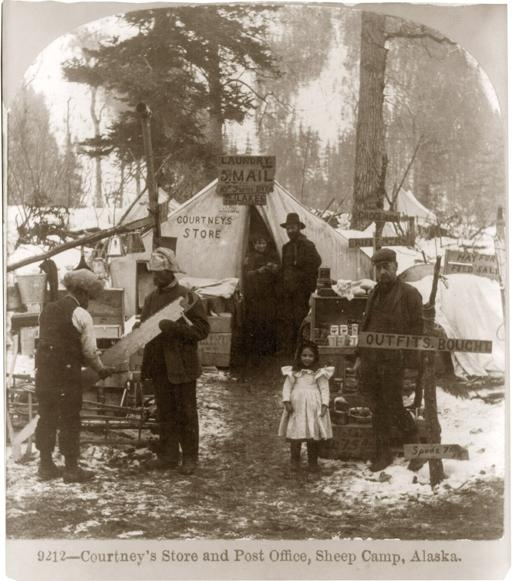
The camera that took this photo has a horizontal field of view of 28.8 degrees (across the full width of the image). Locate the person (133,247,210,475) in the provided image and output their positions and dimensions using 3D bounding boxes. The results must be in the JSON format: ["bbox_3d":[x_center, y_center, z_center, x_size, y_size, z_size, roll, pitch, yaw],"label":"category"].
[{"bbox_3d":[-0.647,0.525,7.655,0.541,1.679,0.191,0,6,-7],"label":"person"}]

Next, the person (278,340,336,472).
[{"bbox_3d":[0.380,0.857,7.724,0.378,0.998,0.365,4,20,13],"label":"person"}]

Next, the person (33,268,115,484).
[{"bbox_3d":[-1.436,0.663,7.717,0.517,1.602,0.254,0,6,-13],"label":"person"}]

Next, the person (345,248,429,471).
[{"bbox_3d":[1.056,0.530,7.799,0.522,1.688,0.309,1,6,1],"label":"person"}]

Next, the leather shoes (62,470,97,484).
[{"bbox_3d":[-1.370,1.419,7.723,0.259,0.133,0.095,0,-1,-6],"label":"leather shoes"}]

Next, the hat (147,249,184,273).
[{"bbox_3d":[-0.713,-0.218,7.569,0.194,0.171,0.164,6,-2,-17],"label":"hat"}]

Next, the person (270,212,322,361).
[{"bbox_3d":[0.331,-0.048,7.766,0.308,1.086,0.182,1,6,1],"label":"person"}]
